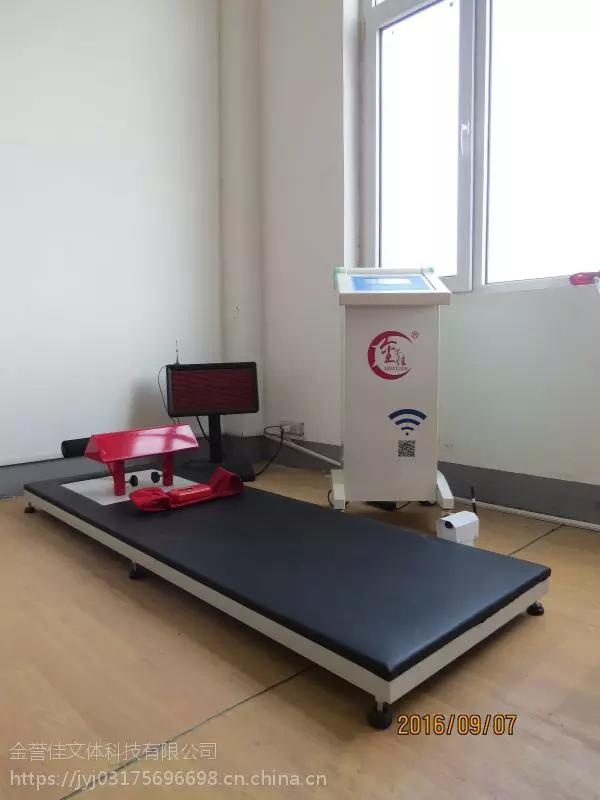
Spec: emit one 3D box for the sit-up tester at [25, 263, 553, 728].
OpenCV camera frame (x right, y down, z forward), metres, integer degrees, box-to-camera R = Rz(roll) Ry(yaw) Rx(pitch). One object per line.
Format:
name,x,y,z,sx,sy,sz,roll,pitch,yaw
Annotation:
sit-up tester,-0.081,0.167,2.329,0.783,1.142,2.164,-1,0,-24
